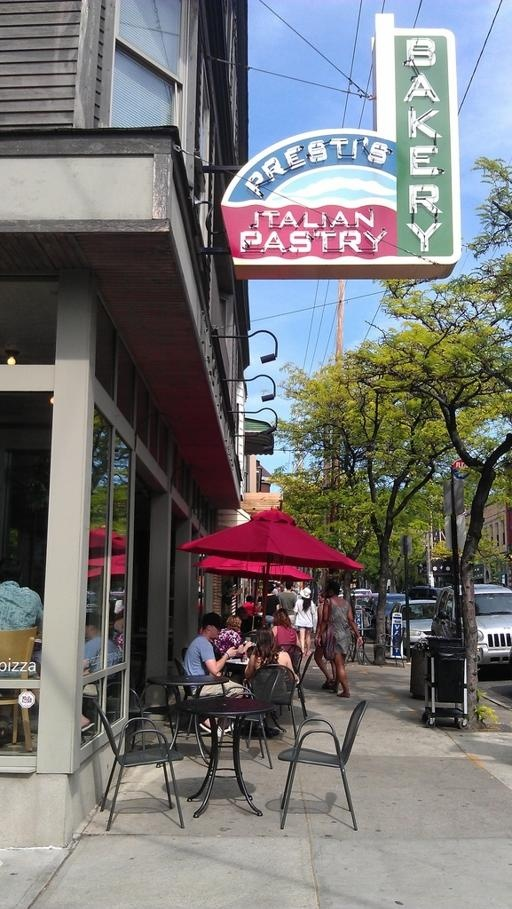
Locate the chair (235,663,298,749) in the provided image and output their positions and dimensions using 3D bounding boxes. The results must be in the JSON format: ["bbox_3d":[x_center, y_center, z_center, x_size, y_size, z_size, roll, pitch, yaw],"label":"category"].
[{"bbox_3d":[0.191,2.352,7.745,0.493,0.917,0.597,-2,22,-1],"label":"chair"}]

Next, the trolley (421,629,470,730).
[{"bbox_3d":[2.314,2.805,9.368,0.463,0.984,0.553,4,-8,-7],"label":"trolley"}]

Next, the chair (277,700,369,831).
[{"bbox_3d":[0.435,2.065,5.120,0.501,0.862,0.469,5,-10,-1],"label":"chair"}]

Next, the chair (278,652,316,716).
[{"bbox_3d":[0.698,3.459,11.652,0.475,0.765,0.401,-22,-32,32],"label":"chair"}]

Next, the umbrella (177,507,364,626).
[{"bbox_3d":[0.176,1.026,9.032,1.744,0.797,1.813,8,-3,17],"label":"umbrella"}]

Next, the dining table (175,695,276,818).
[{"bbox_3d":[-0.214,2.136,5.401,0.524,0.687,0.525,1,-12,8],"label":"dining table"}]

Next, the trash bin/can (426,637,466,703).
[{"bbox_3d":[2.292,2.604,9.126,0.414,0.888,0.630,0,-13,4],"label":"trash bin/can"}]

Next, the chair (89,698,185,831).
[{"bbox_3d":[-0.787,2.065,5.136,0.512,0.844,0.459,1,-14,-14],"label":"chair"}]
